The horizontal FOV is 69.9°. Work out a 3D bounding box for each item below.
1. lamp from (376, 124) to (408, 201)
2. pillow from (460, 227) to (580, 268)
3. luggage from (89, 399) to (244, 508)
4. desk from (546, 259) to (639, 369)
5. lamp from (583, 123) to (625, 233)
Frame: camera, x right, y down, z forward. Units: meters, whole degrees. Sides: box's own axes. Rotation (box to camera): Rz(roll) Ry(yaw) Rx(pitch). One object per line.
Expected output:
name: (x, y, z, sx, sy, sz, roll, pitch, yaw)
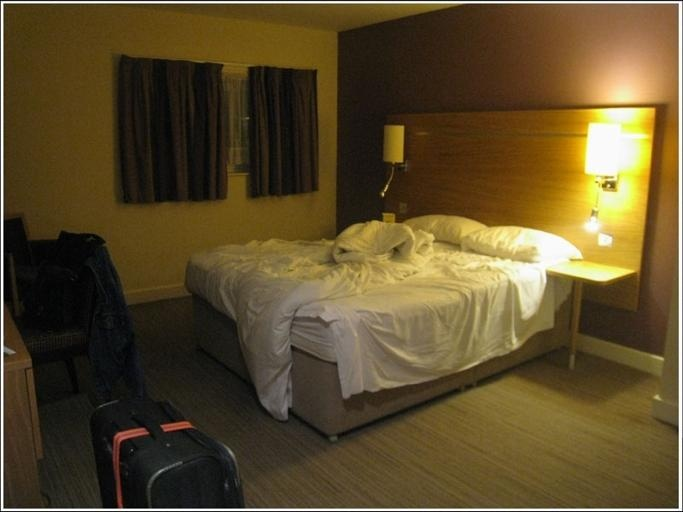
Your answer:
lamp: (0.566, -1.006, 5.301, 0.274, 0.833, 0.526, -1, 13, 6)
pillow: (1.406, -0.100, 4.012, 0.565, 0.166, 0.426, 14, 17, 42)
luggage: (-0.867, 0.996, 2.323, 0.745, 0.472, 0.369, 7, 16, 35)
desk: (1.896, 0.430, 4.050, 0.758, 0.807, 0.752, -9, 17, -31)
lamp: (2.011, -0.592, 3.775, 0.244, 0.846, 0.218, 8, 16, 35)
